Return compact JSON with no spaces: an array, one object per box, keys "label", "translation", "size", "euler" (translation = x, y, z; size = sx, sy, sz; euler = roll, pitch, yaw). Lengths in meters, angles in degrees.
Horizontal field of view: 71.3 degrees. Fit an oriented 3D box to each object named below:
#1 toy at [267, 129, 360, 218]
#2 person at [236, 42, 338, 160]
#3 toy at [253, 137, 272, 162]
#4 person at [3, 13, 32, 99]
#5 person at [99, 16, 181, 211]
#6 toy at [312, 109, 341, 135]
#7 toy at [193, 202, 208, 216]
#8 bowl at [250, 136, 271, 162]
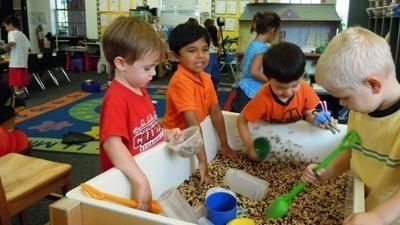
[{"label":"toy","translation":[0.713,0.377,1.709],"size":[0.701,0.123,0.091],"euler":[-39,10,-7]},{"label":"person","translation":[0.639,0.034,2.062],"size":[0.727,1.004,0.565],"euler":[-6,30,8]},{"label":"toy","translation":[0.449,0.258,1.980],"size":[0.128,0.147,0.059],"euler":[-9,-12,-4]},{"label":"person","translation":[-3.663,-1.118,5.573],"size":[0.463,1.538,0.741],"euler":[-10,20,-28]},{"label":"person","translation":[-0.397,-0.020,1.532],"size":[0.436,0.974,0.541],"euler":[6,18,16]},{"label":"toy","translation":[0.864,0.062,1.955],"size":[0.109,0.182,0.062],"euler":[-44,-12,-21]},{"label":"toy","translation":[0.006,0.531,1.530],"size":[0.057,0.055,0.061],"euler":[-10,18,1]},{"label":"bowl","translation":[0.447,0.250,1.957],"size":[0.128,0.147,0.057],"euler":[-4,-14,-3]}]
